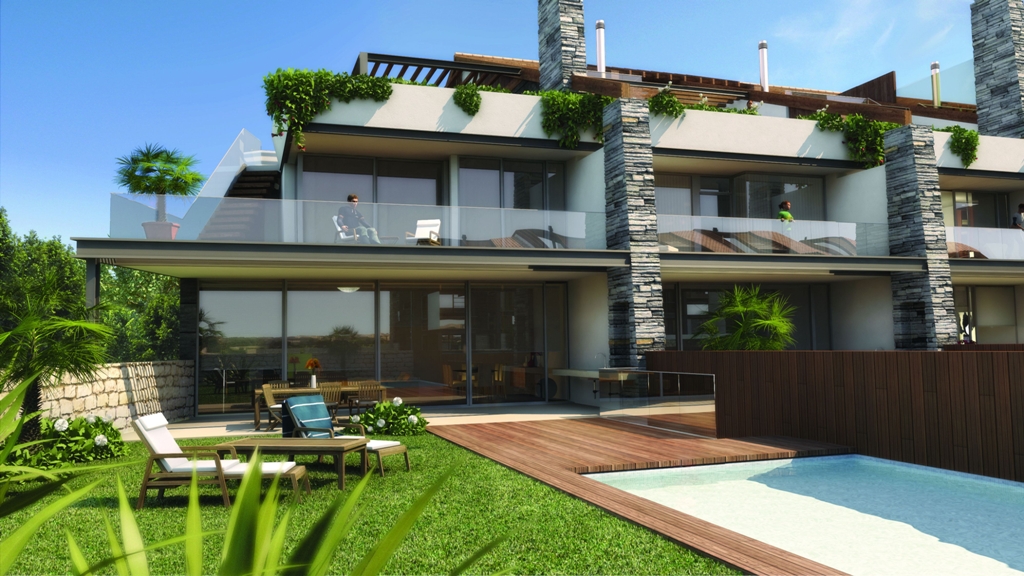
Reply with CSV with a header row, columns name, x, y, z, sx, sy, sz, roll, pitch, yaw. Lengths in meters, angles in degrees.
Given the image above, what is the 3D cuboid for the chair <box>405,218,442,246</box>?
name,x,y,z,sx,sy,sz,roll,pitch,yaw
chair,-2.785,-1.742,23.999,1.005,0.952,0.869,1,3,12

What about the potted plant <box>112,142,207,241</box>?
name,x,y,z,sx,sy,sz,roll,pitch,yaw
potted plant,-10.790,-2.949,23.553,2.392,3.294,2.205,-2,-4,-17

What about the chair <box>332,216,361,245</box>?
name,x,y,z,sx,sy,sz,roll,pitch,yaw
chair,-5.076,-1.766,23.708,0.796,1.056,0.778,-2,-1,42

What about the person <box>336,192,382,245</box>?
name,x,y,z,sx,sy,sz,roll,pitch,yaw
person,-4.733,-1.957,23.649,1.216,1.678,1.075,0,3,27

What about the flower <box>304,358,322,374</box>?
name,x,y,z,sx,sy,sz,roll,pitch,yaw
flower,-6.434,2.494,25.078,0.521,0.491,0.504,1,-6,-15
